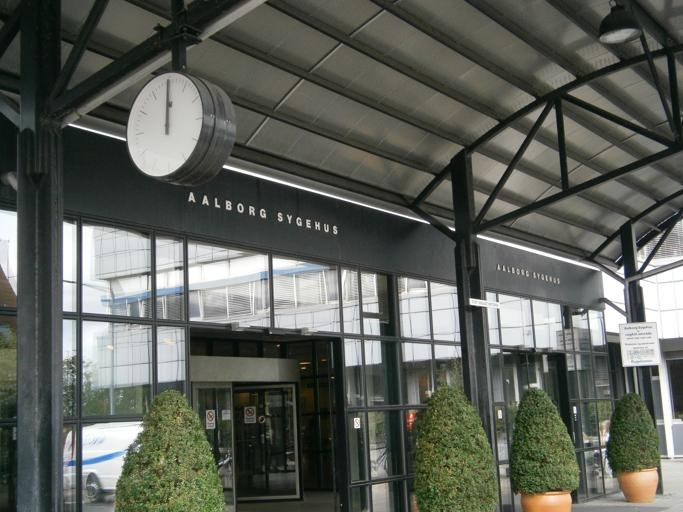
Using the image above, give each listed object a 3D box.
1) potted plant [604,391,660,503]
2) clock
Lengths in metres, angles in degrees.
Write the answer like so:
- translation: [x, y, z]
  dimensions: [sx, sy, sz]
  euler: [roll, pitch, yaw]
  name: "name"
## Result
- translation: [6.597, 4.317, 15.732]
  dimensions: [1.109, 2.393, 0.717]
  euler: [-6, -14, 15]
  name: "potted plant"
- translation: [-1.590, -1.255, 6.914]
  dimensions: [1.122, 1.131, 0.343]
  euler: [-11, -15, 30]
  name: "clock"
